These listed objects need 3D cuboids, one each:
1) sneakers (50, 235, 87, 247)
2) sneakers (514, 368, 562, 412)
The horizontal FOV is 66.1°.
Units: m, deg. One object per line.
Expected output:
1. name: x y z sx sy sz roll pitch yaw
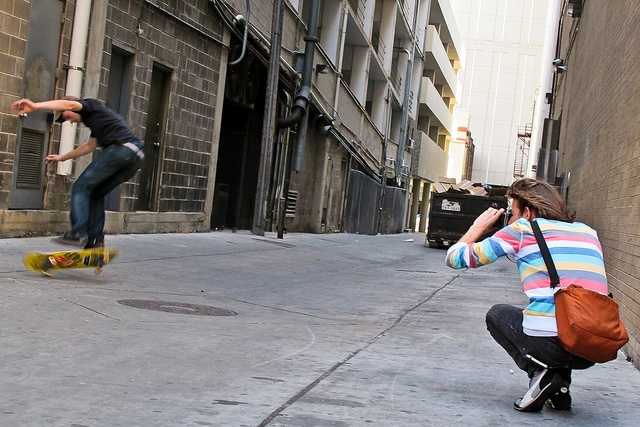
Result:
1. sneakers: -3.404 0.371 6.651 0.416 0.169 0.148 12 -4 -5
2. sneakers: 1.658 1.379 3.796 0.176 0.223 0.511 11 -45 -16
